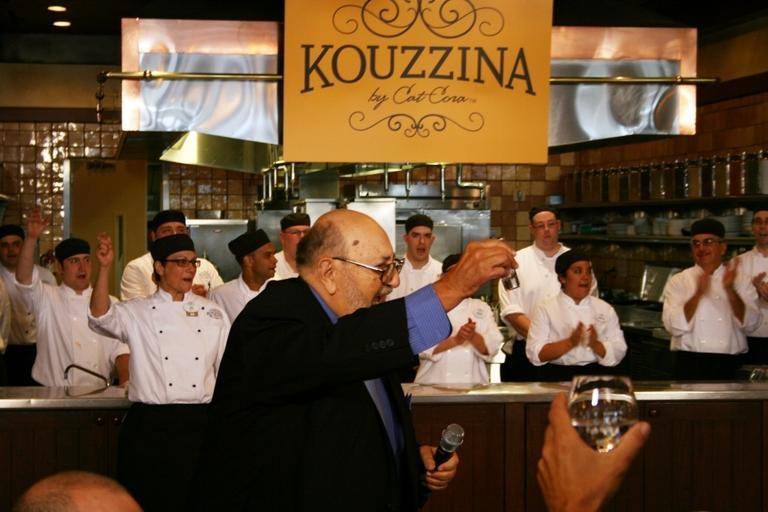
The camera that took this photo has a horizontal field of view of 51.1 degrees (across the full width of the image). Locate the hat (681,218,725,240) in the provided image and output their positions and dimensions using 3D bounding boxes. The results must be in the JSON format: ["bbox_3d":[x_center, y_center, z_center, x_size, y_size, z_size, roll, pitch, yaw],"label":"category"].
[{"bbox_3d":[2.490,-0.223,6.239,0.325,0.185,0.420,0,2,9],"label":"hat"}]

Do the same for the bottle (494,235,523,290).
[{"bbox_3d":[0.605,0.041,3.814,0.075,0.239,0.253,-13,0,18],"label":"bottle"}]

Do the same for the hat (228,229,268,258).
[{"bbox_3d":[-0.983,-0.095,5.862,0.259,0.171,0.195,-20,0,16],"label":"hat"}]

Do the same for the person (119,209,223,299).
[{"bbox_3d":[-1.755,-0.012,6.609,0.931,0.806,0.535,-2,0,-36],"label":"person"}]

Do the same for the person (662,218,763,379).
[{"bbox_3d":[2.481,0.312,6.090,0.718,1.193,0.378,1,1,6],"label":"person"}]

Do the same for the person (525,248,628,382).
[{"bbox_3d":[1.326,0.611,5.551,0.679,1.280,0.705,1,10,2],"label":"person"}]

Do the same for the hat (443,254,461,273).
[{"bbox_3d":[0.407,0.038,4.810,0.119,0.099,0.089,6,-37,23],"label":"hat"}]

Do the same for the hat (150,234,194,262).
[{"bbox_3d":[-1.314,-0.059,4.907,0.191,0.109,0.181,-2,0,21],"label":"hat"}]

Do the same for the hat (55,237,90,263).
[{"bbox_3d":[-2.173,-0.057,5.578,0.179,0.113,0.180,-6,6,-20],"label":"hat"}]

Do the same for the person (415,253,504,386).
[{"bbox_3d":[0.572,0.652,5.595,0.459,1.081,0.337,6,11,3],"label":"person"}]

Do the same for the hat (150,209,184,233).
[{"bbox_3d":[-1.630,-0.283,5.986,0.214,0.110,0.210,-4,0,-39],"label":"hat"}]

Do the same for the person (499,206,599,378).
[{"bbox_3d":[1.211,0.620,6.232,0.746,1.921,0.615,4,0,9],"label":"person"}]

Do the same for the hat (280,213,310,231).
[{"bbox_3d":[-0.693,-0.269,6.130,0.137,0.097,0.185,0,-2,-20],"label":"hat"}]

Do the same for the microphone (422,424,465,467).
[{"bbox_3d":[0.267,0.842,3.571,0.103,0.107,0.323,-18,-28,-23],"label":"microphone"}]
